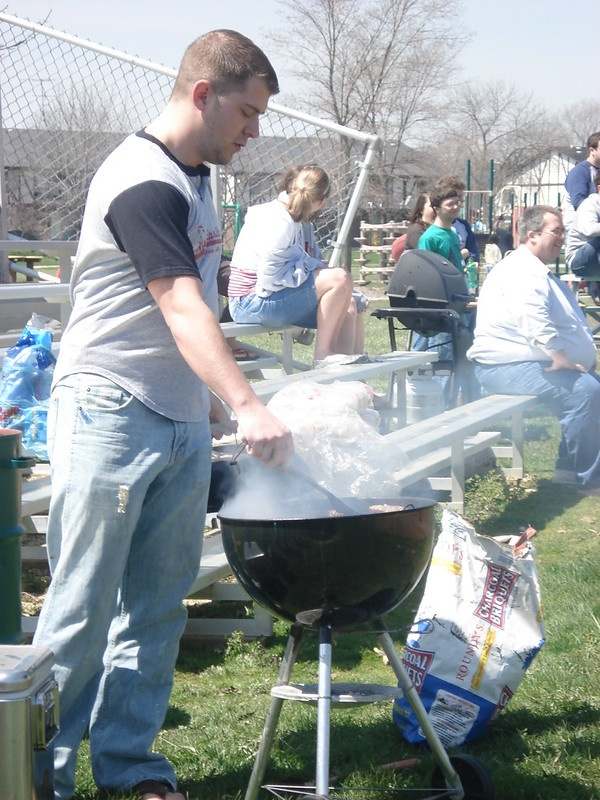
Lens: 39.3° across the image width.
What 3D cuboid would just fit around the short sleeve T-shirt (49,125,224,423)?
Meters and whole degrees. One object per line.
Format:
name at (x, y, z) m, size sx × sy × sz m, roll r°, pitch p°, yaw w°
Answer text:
short sleeve T-shirt at (-0.363, -0.265, 1.838) m, size 0.371 × 0.647 × 0.424 m, roll 1°, pitch 4°, yaw -6°

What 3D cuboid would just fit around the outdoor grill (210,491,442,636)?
outdoor grill at (0.064, 0.331, 1.696) m, size 0.350 × 0.182 × 0.321 m, roll -1°, pitch -6°, yaw -14°

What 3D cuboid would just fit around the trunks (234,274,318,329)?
trunks at (-0.154, -0.618, 5.238) m, size 0.411 × 0.174 × 0.352 m, roll 0°, pitch 7°, yaw 15°

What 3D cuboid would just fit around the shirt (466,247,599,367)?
shirt at (1.552, -0.516, 5.564) m, size 0.788 × 0.708 × 1.049 m, roll -3°, pitch 4°, yaw 14°
